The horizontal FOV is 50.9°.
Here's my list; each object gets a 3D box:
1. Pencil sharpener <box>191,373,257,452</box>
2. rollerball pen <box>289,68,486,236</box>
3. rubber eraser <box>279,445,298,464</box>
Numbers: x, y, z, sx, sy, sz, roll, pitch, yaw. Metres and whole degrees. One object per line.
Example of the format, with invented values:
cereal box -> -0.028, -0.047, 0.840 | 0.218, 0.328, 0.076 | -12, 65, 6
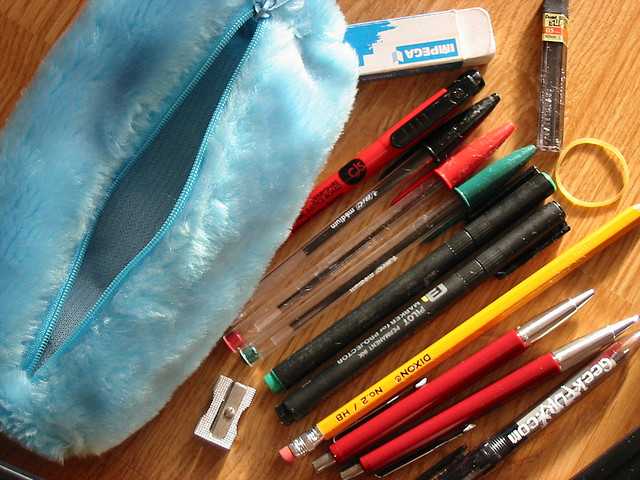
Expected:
Pencil sharpener -> -0.132, 0.269, 1.022 | 0.097, 0.133, 0.042 | 27, -8, -1
rollerball pen -> 0.109, -0.139, 1.039 | 0.040, 0.389, 0.056 | 54, 11, 0
rubber eraser -> -0.048, 0.321, 1.006 | 0.027, 0.021, 0.026 | 44, -29, 40
